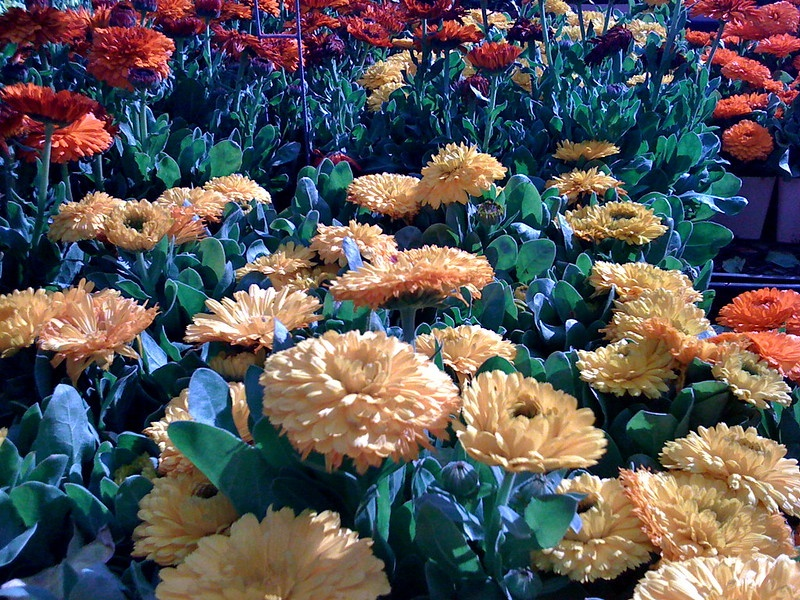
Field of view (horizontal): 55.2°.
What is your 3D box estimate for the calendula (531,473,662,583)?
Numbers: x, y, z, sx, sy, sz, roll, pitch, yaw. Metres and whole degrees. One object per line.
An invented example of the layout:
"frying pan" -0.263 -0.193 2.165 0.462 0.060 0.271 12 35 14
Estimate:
"calendula" 0.320 0.382 1.235 0.165 0.134 0.149 15 24 29
